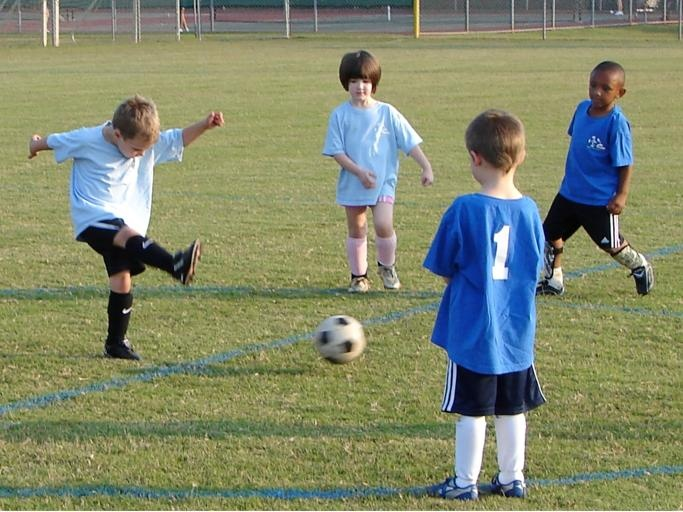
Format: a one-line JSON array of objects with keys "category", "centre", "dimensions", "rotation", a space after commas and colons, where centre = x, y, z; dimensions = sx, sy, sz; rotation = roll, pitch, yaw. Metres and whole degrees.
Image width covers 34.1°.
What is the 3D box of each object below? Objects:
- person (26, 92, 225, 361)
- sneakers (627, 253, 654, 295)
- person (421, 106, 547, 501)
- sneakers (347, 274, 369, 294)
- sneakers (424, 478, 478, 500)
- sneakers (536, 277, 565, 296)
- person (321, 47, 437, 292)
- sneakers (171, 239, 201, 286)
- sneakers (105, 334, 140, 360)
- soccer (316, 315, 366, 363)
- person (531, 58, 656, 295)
[{"category": "person", "centre": [-1.532, -0.161, 7.831], "dimensions": [1.139, 1.883, 0.757], "rotation": [-1, 9, -7]}, {"category": "sneakers", "centre": [2.487, 0.192, 9.008], "dimensions": [0.132, 0.382, 0.184], "rotation": [-23, -15, 40]}, {"category": "person", "centre": [0.879, 0.311, 6.723], "dimensions": [0.724, 2.317, 0.429], "rotation": [0, 9, 4]}, {"category": "sneakers", "centre": [0.150, 0.256, 9.212], "dimensions": [0.178, 0.167, 0.122], "rotation": [-2, 0, 2]}, {"category": "sneakers", "centre": [0.690, 1.431, 6.803], "dimensions": [0.322, 0.138, 0.123], "rotation": [3, 0, 13]}, {"category": "sneakers", "centre": [1.725, 0.276, 9.163], "dimensions": [0.310, 0.123, 0.111], "rotation": [-1, 12, 3]}, {"category": "person", "centre": [0.274, -0.670, 9.119], "dimensions": [0.827, 1.966, 0.674], "rotation": [0, 9, -1]}, {"category": "sneakers", "centre": [-1.059, 0.066, 7.644], "dimensions": [0.168, 0.347, 0.135], "rotation": [15, 27, -1]}, {"category": "sneakers", "centre": [-1.599, 0.688, 8.101], "dimensions": [0.318, 0.128, 0.114], "rotation": [5, 4, 13]}, {"category": "soccer", "centre": [-0.006, 0.613, 7.835], "dimensions": [0.408, 0.388, 0.410], "rotation": [-2, 8, -7]}, {"category": "person", "centre": [2.054, -0.592, 8.924], "dimensions": [0.820, 1.873, 0.413], "rotation": [6, 11, 35]}]
